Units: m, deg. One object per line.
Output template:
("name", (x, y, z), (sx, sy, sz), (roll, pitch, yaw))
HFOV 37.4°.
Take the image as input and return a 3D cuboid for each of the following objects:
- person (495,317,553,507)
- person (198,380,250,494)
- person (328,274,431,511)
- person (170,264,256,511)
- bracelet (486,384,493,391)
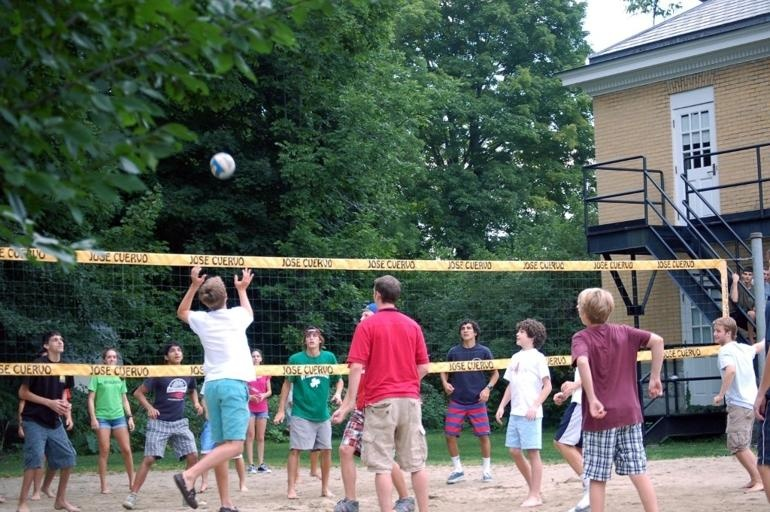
("person", (1.995, 2.207, 16.328), (0.763, 2.648, 1.338), (-2, -7, 7))
("person", (-2.426, 2.666, 16.692), (0.737, 1.970, 0.477), (5, 32, -1))
("person", (0.013, 1.747, 14.487), (1.061, 2.988, 0.363), (-1, -7, -1))
("person", (-2.198, 1.704, 14.777), (0.954, 3.228, 0.647), (-1, -7, -7))
("bracelet", (1.571, 1.993, 17.208), (0.100, 0.065, 0.093), (-27, -18, 16))
